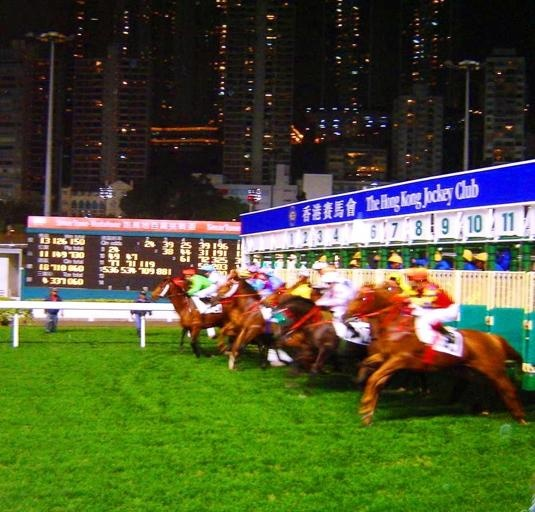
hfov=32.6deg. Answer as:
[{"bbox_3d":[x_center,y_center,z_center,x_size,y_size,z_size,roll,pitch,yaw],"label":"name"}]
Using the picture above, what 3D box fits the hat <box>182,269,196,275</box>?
[{"bbox_3d":[-1.238,0.247,14.508,0.248,0.061,0.210,0,-4,-7],"label":"hat"}]
